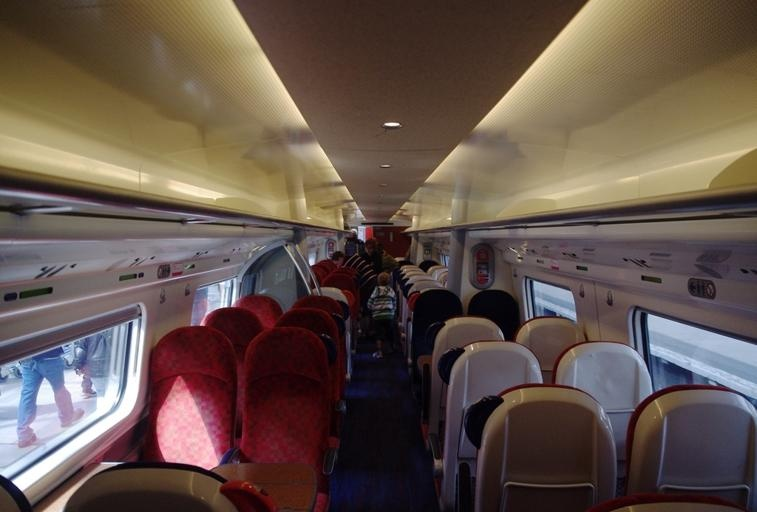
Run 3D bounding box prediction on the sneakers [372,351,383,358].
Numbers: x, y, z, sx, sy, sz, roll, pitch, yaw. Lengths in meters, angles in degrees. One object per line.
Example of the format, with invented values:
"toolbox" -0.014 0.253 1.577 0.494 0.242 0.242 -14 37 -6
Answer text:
"sneakers" -0.020 2.228 9.648 0.165 0.124 0.130 -8 -11 13
